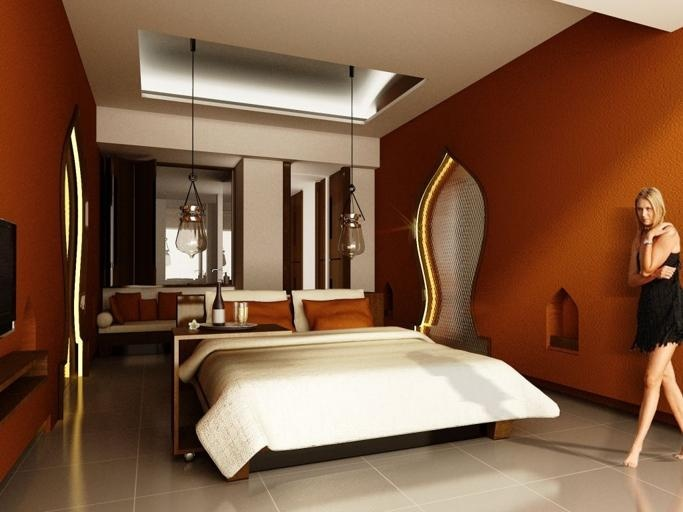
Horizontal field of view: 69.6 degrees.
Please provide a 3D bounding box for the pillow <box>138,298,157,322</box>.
[{"bbox_3d":[-2.707,0.750,6.862,0.237,0.271,0.096,3,-18,-38],"label":"pillow"}]

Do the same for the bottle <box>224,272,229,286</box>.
[{"bbox_3d":[-1.777,0.350,7.590,0.117,0.207,0.048,0,5,-6],"label":"bottle"}]

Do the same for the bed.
[{"bbox_3d":[-0.145,0.944,4.212,2.487,0.856,2.157,-2,5,-22],"label":"bed"}]

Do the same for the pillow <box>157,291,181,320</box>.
[{"bbox_3d":[-2.313,0.671,6.552,0.335,0.507,0.180,0,-17,-10],"label":"pillow"}]

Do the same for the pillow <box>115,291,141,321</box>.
[{"bbox_3d":[-2.952,0.685,6.788,0.335,0.405,0.156,-3,-2,-22],"label":"pillow"}]

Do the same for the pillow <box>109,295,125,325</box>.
[{"bbox_3d":[-3.077,0.713,6.710,0.173,0.386,0.365,-4,7,-44],"label":"pillow"}]
